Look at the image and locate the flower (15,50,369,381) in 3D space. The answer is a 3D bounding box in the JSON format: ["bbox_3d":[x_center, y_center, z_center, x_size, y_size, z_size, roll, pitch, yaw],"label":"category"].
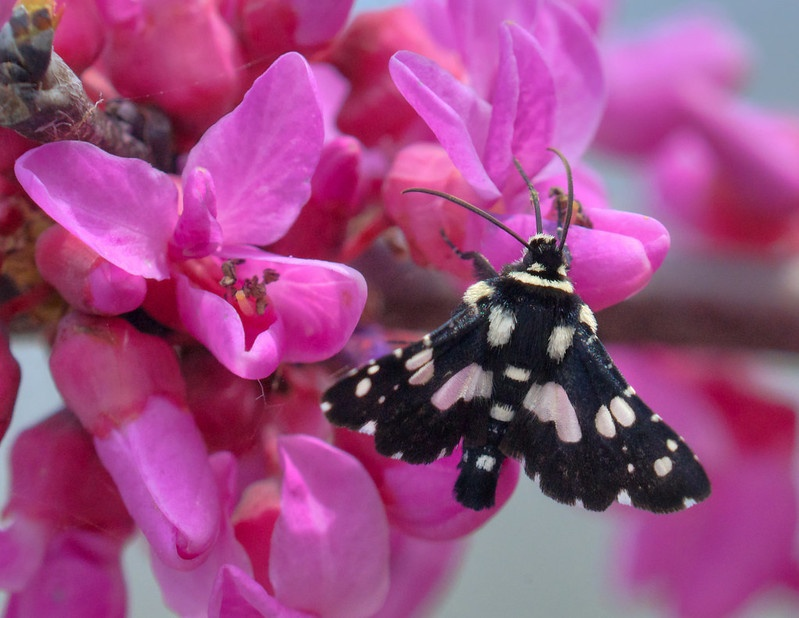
[{"bbox_3d":[-0.139,-0.064,0.701,0.231,0.140,0.265,-22,-3,25],"label":"flower"}]

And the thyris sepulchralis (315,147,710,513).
[{"bbox_3d":[0.125,0.048,0.797,0.288,0.140,0.291,19,60,26],"label":"thyris sepulchralis"}]
